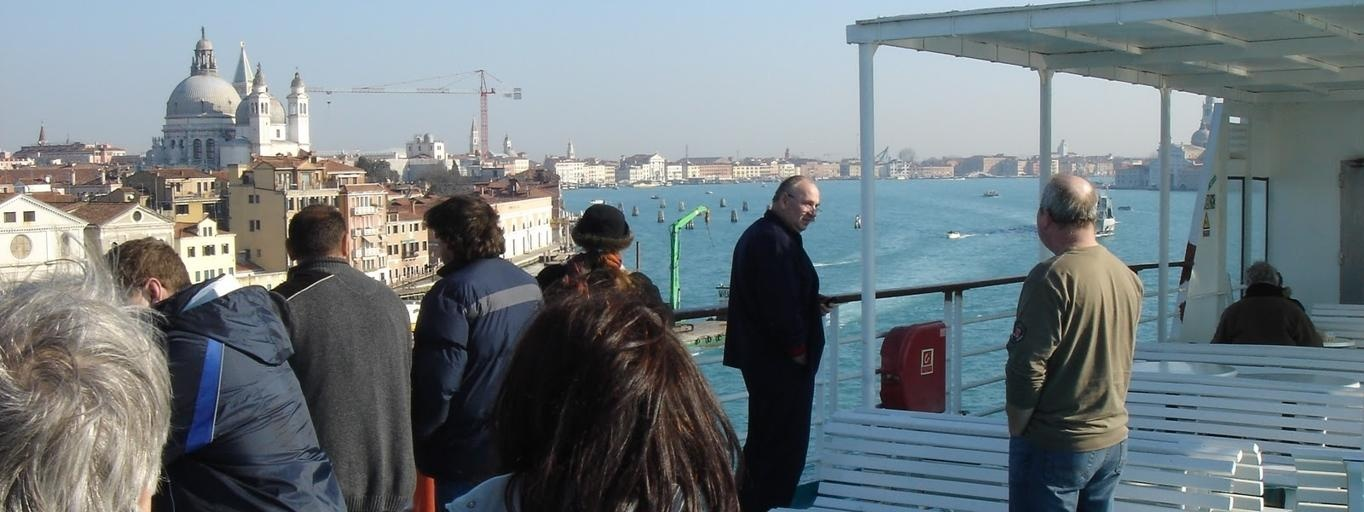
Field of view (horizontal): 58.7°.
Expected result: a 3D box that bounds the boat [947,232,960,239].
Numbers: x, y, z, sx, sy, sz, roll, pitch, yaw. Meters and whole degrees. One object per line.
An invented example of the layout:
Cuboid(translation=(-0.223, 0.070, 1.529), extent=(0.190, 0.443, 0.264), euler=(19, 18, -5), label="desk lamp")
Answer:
Cuboid(translation=(22.936, -1.708, 102.112), extent=(0.897, 0.303, 0.965), euler=(0, 2, 7), label="boat")

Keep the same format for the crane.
Cuboid(translation=(-34.418, -19.418, 160.824), extent=(35.141, 10.608, 2.094), euler=(6, 8, 31), label="crane")
